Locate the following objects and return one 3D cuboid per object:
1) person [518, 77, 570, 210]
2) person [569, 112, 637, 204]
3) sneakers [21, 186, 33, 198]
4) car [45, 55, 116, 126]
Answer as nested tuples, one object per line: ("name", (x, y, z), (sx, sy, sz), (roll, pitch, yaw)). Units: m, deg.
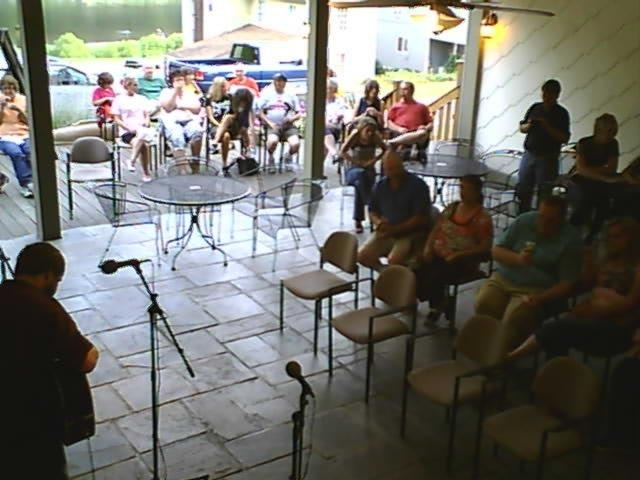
("person", (2.799, -1.219, 6.686), (0.562, 1.503, 0.455), (10, 21, 21))
("person", (3.162, -0.867, 5.895), (0.612, 0.999, 0.266), (11, 22, 24))
("sneakers", (-4.421, -0.709, 7.914), (0.109, 0.140, 0.341), (-5, 6, -34))
("car", (-4.563, -3.084, 11.239), (2.321, 1.010, 1.305), (-3, 10, -23))
